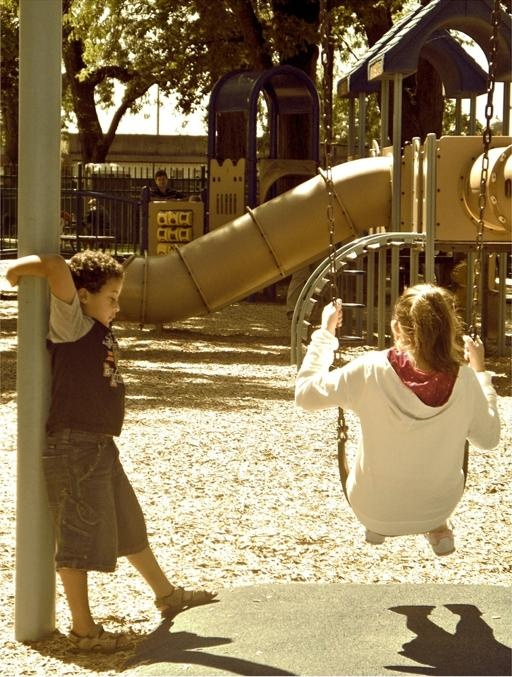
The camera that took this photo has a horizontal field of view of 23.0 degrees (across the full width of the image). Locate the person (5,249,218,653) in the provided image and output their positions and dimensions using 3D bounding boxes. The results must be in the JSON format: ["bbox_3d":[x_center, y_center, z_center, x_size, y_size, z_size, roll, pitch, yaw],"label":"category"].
[{"bbox_3d":[-0.490,0.379,4.306,0.461,1.209,0.570,1,2,42],"label":"person"}]

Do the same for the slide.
[{"bbox_3d":[-0.032,-1.066,12.185,2.357,1.595,2.748,-9,15,-33],"label":"slide"}]

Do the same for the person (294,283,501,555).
[{"bbox_3d":[0.475,0.304,4.254,0.678,0.970,0.385,1,5,10],"label":"person"}]
